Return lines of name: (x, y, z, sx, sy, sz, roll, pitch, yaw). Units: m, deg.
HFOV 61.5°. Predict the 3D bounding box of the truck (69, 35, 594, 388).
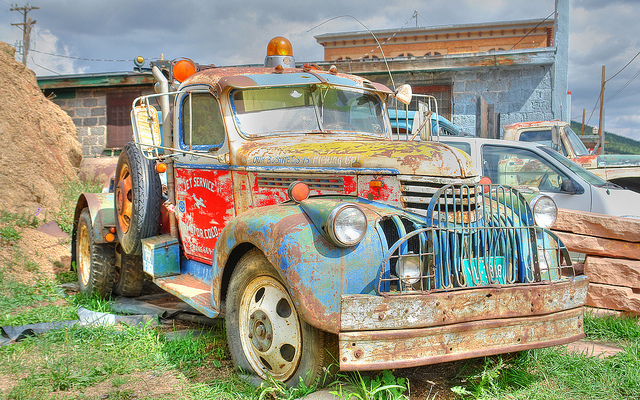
truck: (-0.345, 0.013, 7.812, 3.817, 3.228, 6.392, 1, -1, -31)
